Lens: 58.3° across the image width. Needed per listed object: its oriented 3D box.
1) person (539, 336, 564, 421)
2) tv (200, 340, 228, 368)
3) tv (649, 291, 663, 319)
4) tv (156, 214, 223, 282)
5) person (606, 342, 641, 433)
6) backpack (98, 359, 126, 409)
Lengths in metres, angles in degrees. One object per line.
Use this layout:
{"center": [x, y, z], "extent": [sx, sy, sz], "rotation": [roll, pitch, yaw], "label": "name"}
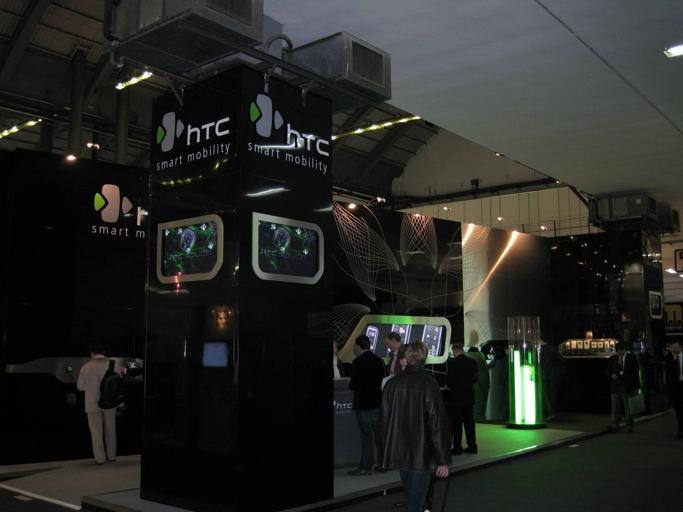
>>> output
{"center": [4.313, 2.581, 12.611], "extent": [0.342, 1.500, 1.946], "rotation": [-2, -6, 19], "label": "person"}
{"center": [-1.211, 0.946, 5.830], "extent": [0.245, 0.259, 0.063], "rotation": [3, -2, 27], "label": "tv"}
{"center": [6.725, 1.075, 13.162], "extent": [0.259, 0.547, 0.525], "rotation": [-5, -9, 36], "label": "tv"}
{"center": [-1.522, -0.058, 6.136], "extent": [0.778, 0.629, 0.097], "rotation": [-5, -12, 24], "label": "tv"}
{"center": [4.798, 2.249, 10.496], "extent": [0.453, 1.518, 0.431], "rotation": [-1, 9, 24], "label": "person"}
{"center": [-3.051, 1.715, 8.087], "extent": [0.318, 0.593, 0.348], "rotation": [-1, -2, 8], "label": "backpack"}
